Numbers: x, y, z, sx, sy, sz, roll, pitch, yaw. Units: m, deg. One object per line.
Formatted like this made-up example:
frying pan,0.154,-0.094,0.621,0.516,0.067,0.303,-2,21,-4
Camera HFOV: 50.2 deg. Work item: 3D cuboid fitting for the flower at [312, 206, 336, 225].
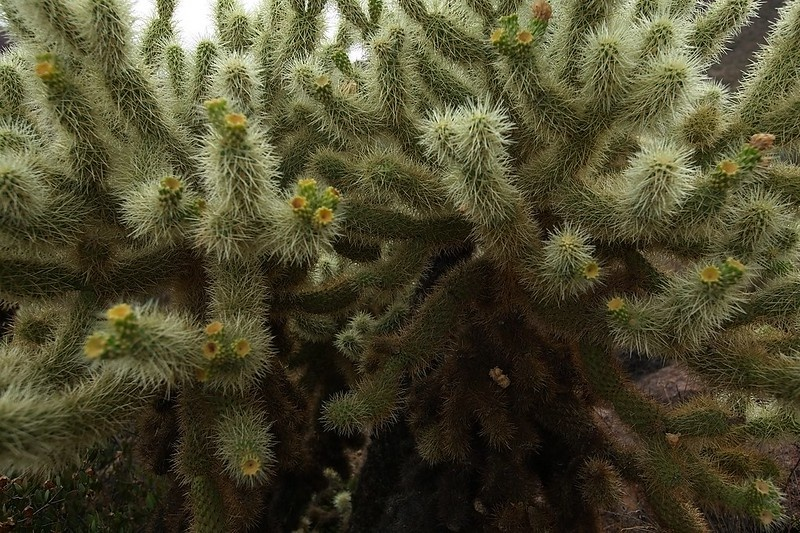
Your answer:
flower,-0.283,-0.193,3.248,0.067,0.066,0.026,45,-9,-18

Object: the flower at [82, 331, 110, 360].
flower,-1.082,0.265,3.048,0.090,0.113,0.060,-26,-33,36

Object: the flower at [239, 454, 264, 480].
flower,-0.588,0.796,3.382,0.084,0.075,0.202,-1,-28,-9

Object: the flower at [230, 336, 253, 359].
flower,-0.601,0.311,3.286,0.046,0.076,0.094,-26,-33,36

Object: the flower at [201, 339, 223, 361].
flower,-0.710,0.311,3.272,0.069,0.071,0.067,-36,5,-7
